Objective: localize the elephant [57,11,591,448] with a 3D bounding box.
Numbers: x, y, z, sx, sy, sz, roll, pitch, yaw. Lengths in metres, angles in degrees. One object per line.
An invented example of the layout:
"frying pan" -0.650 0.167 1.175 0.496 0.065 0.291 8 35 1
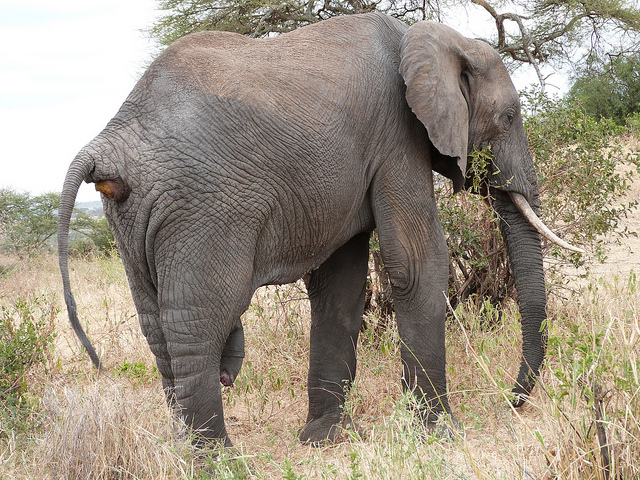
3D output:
"elephant" 0.183 0.046 4.915 3.664 3.233 1.843 -5 8 -19
